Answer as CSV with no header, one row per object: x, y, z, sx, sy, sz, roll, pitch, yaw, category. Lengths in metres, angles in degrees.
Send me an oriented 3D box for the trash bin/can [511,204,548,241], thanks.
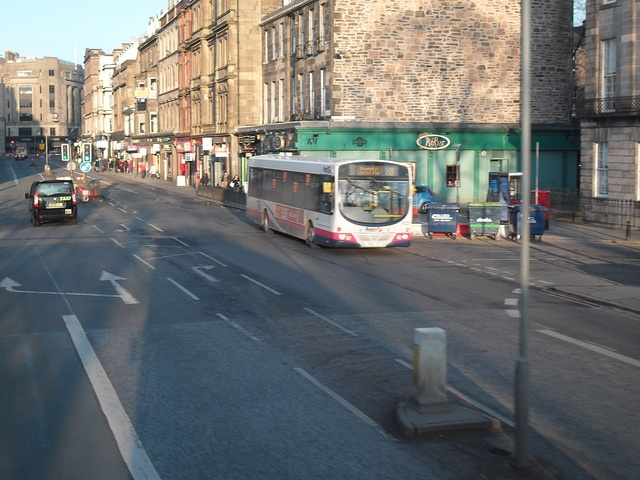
9.319,-0.841,29.877,1.457,1.580,2.823,2,7,10,trash bin/can

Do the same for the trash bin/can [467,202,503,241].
7.391,-0.871,29.943,1.492,1.680,0.857,1,7,4,trash bin/can
